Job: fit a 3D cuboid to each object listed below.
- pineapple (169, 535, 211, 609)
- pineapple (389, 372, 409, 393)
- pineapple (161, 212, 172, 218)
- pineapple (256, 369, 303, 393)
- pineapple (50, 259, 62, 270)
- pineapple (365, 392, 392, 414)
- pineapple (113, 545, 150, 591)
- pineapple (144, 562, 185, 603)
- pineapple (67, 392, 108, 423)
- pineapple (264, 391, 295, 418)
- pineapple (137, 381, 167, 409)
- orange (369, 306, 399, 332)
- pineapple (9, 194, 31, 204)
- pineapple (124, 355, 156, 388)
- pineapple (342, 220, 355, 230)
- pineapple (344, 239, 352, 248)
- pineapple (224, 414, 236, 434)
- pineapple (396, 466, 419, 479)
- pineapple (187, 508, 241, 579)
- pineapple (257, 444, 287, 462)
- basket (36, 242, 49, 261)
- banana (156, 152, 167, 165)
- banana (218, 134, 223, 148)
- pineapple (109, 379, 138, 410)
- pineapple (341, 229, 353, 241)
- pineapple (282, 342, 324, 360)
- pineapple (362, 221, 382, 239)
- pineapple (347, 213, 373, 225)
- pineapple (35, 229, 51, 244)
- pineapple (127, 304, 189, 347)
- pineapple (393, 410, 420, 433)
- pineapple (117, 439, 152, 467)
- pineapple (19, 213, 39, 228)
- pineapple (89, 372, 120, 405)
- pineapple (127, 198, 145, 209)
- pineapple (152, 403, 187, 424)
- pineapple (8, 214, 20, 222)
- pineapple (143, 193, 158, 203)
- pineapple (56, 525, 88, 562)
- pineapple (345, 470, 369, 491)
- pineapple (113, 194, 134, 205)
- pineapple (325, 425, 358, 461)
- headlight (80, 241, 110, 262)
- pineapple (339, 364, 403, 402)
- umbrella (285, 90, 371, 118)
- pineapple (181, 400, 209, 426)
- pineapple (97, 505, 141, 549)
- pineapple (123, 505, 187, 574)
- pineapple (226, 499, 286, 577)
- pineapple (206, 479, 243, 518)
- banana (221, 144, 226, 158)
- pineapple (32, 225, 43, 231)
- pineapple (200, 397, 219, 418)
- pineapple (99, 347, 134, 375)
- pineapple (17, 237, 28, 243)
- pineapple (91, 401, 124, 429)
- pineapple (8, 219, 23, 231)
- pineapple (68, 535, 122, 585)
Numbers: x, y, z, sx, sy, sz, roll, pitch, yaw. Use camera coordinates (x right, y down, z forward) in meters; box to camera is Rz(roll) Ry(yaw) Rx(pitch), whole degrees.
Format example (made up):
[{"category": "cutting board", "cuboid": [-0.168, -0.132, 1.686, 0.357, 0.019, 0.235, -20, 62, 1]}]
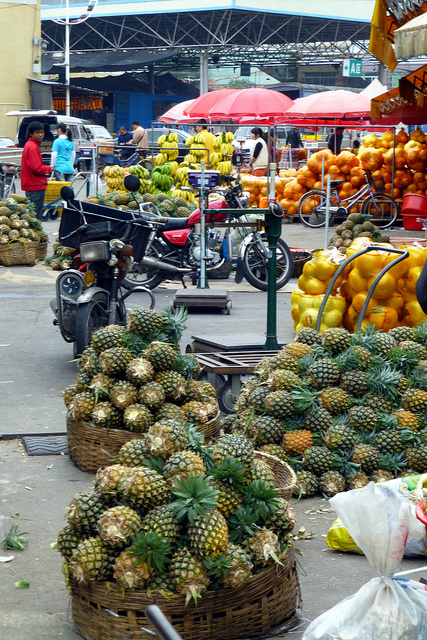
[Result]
[{"category": "pineapple", "cuboid": [-0.078, 0.814, 2.059, 0.121, 0.107, 0.296, 5, 3, -8]}, {"category": "pineapple", "cuboid": [1.106, 0.374, 3.877, 0.100, 0.104, 0.108, 1, 6, -1]}, {"category": "pineapple", "cuboid": [-0.778, -1.746, 10.880, 0.133, 0.059, 0.165, 1, 10, -5]}, {"category": "pineapple", "cuboid": [0.410, 0.355, 3.906, 0.250, 0.121, 0.191, 2, 7, 5]}, {"category": "pineapple", "cuboid": [-2.839, -1.003, 11.874, 0.171, 0.167, 0.192, 3, -19, 38]}, {"category": "pineapple", "cuboid": [0.955, 0.469, 3.754, 0.126, 0.094, 0.052, 35, -10, -8]}, {"category": "pineapple", "cuboid": [-0.254, 0.779, 2.089, 0.105, 0.122, 0.115, -8, -38, -30]}, {"category": "pineapple", "cuboid": [-0.151, 0.782, 2.057, 0.081, 0.094, 0.182, -14, 0, -1]}, {"category": "pineapple", "cuboid": [-0.741, 0.503, 3.844, 0.185, 0.132, 0.203, 11, 7, 16]}, {"category": "pineapple", "cuboid": [0.392, 0.478, 3.819, 0.176, 0.149, 0.142, -13, -35, -8]}, {"category": "pineapple", "cuboid": [-0.319, 0.389, 3.451, 0.130, 0.134, 0.136, 5, -2, -2]}, {"category": "orange", "cuboid": [1.491, -0.013, 5.727, 0.162, 0.171, 0.159, -11, 29, -7]}, {"category": "pineapple", "cuboid": [-3.778, -2.380, 12.948, 0.257, 0.285, 0.161, 2, 7, -2]}, {"category": "pineapple", "cuboid": [-0.391, 0.272, 3.581, 0.160, 0.150, 0.157, 3, -33, -3]}, {"category": "pineapple", "cuboid": [1.966, -1.374, 9.494, 0.153, 0.124, 0.130, 3, 7, 5]}, {"category": "pineapple", "cuboid": [1.863, -1.057, 8.989, 0.101, 0.106, 0.384, 2, 6, 11]}, {"category": "pineapple", "cuboid": [0.107, 0.680, 4.302, 0.105, 0.109, 0.106, 2, -4, -2]}, {"category": "pineapple", "cuboid": [1.060, 0.834, 3.555, 0.117, 0.050, 0.132, 3, 7, 16]}, {"category": "pineapple", "cuboid": [-0.003, 0.712, 2.078, 0.108, 0.113, 0.174, -24, -34, -2]}, {"category": "pineapple", "cuboid": [0.333, 0.720, 3.651, 0.167, 0.100, 0.118, 10, -1, -1]}, {"category": "basket", "cuboid": [-3.352, -1.352, 12.891, 0.335, 0.335, 0.320, 2, 9, -1]}, {"category": "banana", "cuboid": [-1.214, -3.868, 15.543, 0.176, 0.321, 0.110, 0, -26, 6]}, {"category": "banana", "cuboid": [0.183, -4.285, 15.700, 0.106, 0.329, 0.211, 1, 7, -1]}, {"category": "pineapple", "cuboid": [-0.476, 0.396, 3.506, 0.139, 0.140, 0.130, 4, -2, 2]}, {"category": "pineapple", "cuboid": [1.907, -1.207, 9.290, 0.153, 0.164, 0.259, 2, 7, 9]}, {"category": "pineapple", "cuboid": [0.565, 0.181, 4.104, 0.335, 0.133, 0.125, 0, 9, -6]}, {"category": "pineapple", "cuboid": [2.160, -1.230, 8.839, 0.170, 0.265, 0.144, -13, 6, -7]}, {"category": "pineapple", "cuboid": [2.102, -1.464, 9.473, 0.241, 0.124, 0.263, 1, 4, 3]}, {"category": "pineapple", "cuboid": [-3.329, -1.637, 12.840, 0.196, 0.236, 0.197, 2, -2, 11]}, {"category": "pineapple", "cuboid": [-0.355, 0.016, 3.986, 0.490, 0.244, 0.250, 5, 1, -11]}, {"category": "pineapple", "cuboid": [1.093, 0.566, 3.688, 0.142, 0.093, 0.061, 22, 13, 9]}, {"category": "pineapple", "cuboid": [-0.296, 0.482, 2.463, 0.110, 0.086, 0.087, -22, 28, -12]}, {"category": "pineapple", "cuboid": [-3.464, -1.870, 12.344, 0.268, 0.123, 0.163, 26, -3, -35]}, {"category": "pineapple", "cuboid": [-0.613, 0.362, 3.658, 0.153, 0.160, 0.150, -15, 22, 8]}, {"category": "pineapple", "cuboid": [-1.218, -1.866, 10.374, 0.177, 0.101, 0.222, -26, -15, 33]}, {"category": "pineapple", "cuboid": [-0.227, 0.465, 3.285, 0.095, 0.093, 0.150, -37, -18, 15]}, {"category": "pineapple", "cuboid": [-3.662, -1.884, 12.098, 0.138, 0.076, 0.133, 1, 8, 7]}, {"category": "pineapple", "cuboid": [-1.078, -2.064, 11.116, 0.190, 0.103, 0.219, 0, 13, -3]}, {"category": "pineapple", "cuboid": [-0.491, 0.769, 2.296, 0.106, 0.106, 0.075, -1, 0, 19]}, {"category": "pineapple", "cuboid": [0.791, 0.881, 3.588, 0.127, 0.094, 0.088, 2, 7, 12]}, {"category": "pineapple", "cuboid": [-1.417, -1.904, 10.378, 0.304, 0.135, 0.160, -5, 8, -29]}, {"category": "pineapple", "cuboid": [0.726, 0.694, 3.726, 0.166, 0.178, 0.182, -8, -32, 9]}, {"category": "headlight", "cuboid": [-1.079, -0.628, 6.031, 0.306, 0.201, 0.170, 0, 4, 9]}, {"category": "pineapple", "cuboid": [0.910, 0.351, 3.777, 0.474, 0.220, 0.215, 1, -12, 0]}, {"category": "umbrella", "cuboid": [4.279, -7.798, 23.581, 2.938, 1.127, 1.424, -1, 7, -16]}, {"category": "pineapple", "cuboid": [-0.097, 0.503, 3.579, 0.132, 0.123, 0.191, -5, 7, -3]}, {"category": "pineapple", "cuboid": [-0.287, 0.679, 2.112, 0.115, 0.123, 0.116, -31, -30, 17]}, {"category": "pineapple", "cuboid": [-0.167, 0.698, 2.079, 0.185, 0.177, 0.294, 4, -19, -4]}, {"category": "pineapple", "cuboid": [0.138, 0.737, 2.211, 0.147, 0.140, 0.243, -10, 22, -11]}, {"category": "pineapple", "cuboid": [0.035, 0.602, 2.209, 0.095, 0.120, 0.103, -32, -3, 19]}, {"category": "banana", "cuboid": [0.242, -4.044, 15.604, 0.072, 0.228, 0.147, 0, -8, -41]}, {"category": "pineapple", "cuboid": [-3.399, -1.777, 12.608, 0.154, 0.085, 0.176, 1, 5, -2]}, {"category": "pineapple", "cuboid": [-0.008, 0.513, 3.881, 0.078, 0.121, 0.112, -12, -9, -2]}, {"category": "pineapple", "cuboid": [-0.549, 0.226, 3.626, 0.182, 0.132, 0.124, -9, 5, -39]}, {"category": "pineapple", "cuboid": [-3.565, -1.509, 12.326, 0.080, 0.075, 0.034, 23, -27, -25]}, {"category": "pineapple", "cuboid": [-0.574, 0.521, 3.608, 0.107, 0.101, 0.156, -20, -1, 6]}, {"category": "pineapple", "cuboid": [-3.660, -1.752, 12.103, 0.193, 0.117, 0.172, 0, 3, 31]}, {"category": "pineapple", "cuboid": [-0.370, 0.766, 2.087, 0.125, 0.120, 0.170, -21, 7, 16]}]
